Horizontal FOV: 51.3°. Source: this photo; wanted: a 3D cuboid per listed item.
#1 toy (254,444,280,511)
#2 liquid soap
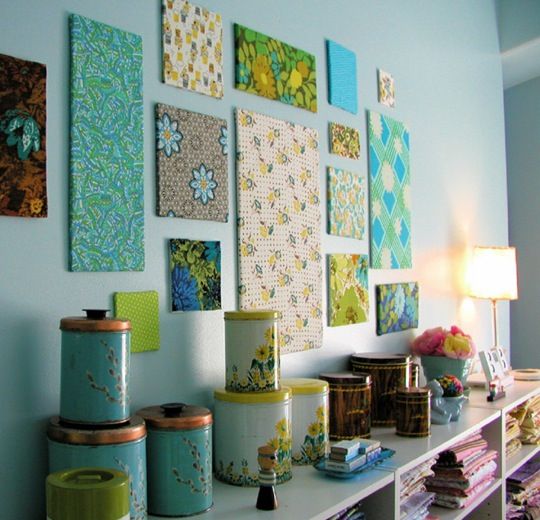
[{"bbox_3d":[-0.007,0.451,1.205,0.044,0.118,0.149,-2,-6,1],"label":"toy"},{"bbox_3d":[0.422,0.427,1.658,0.105,0.216,0.113,-2,-3,26],"label":"liquid soap"}]
